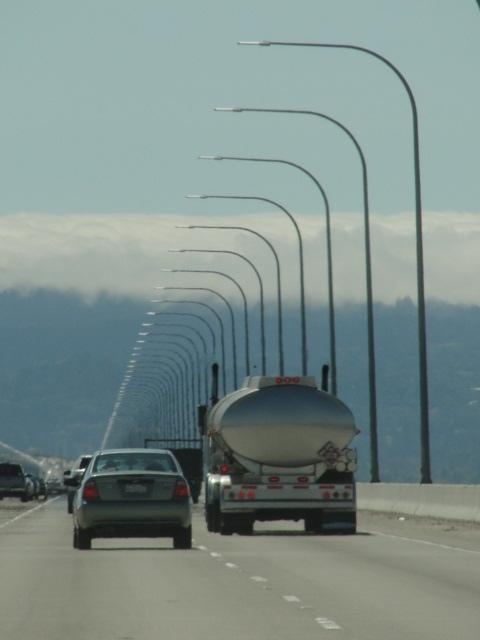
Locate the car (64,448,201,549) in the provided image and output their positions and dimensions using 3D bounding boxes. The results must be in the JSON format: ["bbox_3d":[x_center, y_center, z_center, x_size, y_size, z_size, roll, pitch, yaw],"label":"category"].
[{"bbox_3d":[-1.501,2.520,20.313,1.605,1.426,1.509,1,-6,-6],"label":"car"}]

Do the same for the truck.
[{"bbox_3d":[0.585,2.491,27.081,1.698,2.631,3.580,0,-5,-3],"label":"truck"}]
